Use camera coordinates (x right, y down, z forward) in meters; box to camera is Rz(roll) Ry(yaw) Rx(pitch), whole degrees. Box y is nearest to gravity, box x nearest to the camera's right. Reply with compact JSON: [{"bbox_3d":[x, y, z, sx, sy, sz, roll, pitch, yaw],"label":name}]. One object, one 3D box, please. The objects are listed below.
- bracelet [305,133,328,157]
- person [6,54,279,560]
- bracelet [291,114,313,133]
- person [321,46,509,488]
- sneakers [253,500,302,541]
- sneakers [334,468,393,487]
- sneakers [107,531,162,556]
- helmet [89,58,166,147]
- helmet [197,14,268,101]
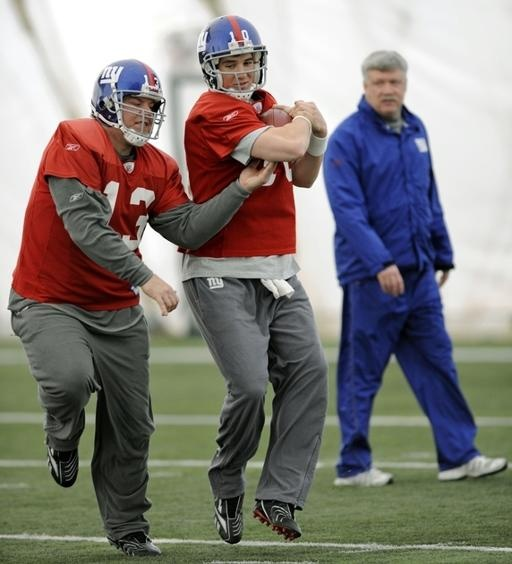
[{"bbox_3d":[0.250,-0.545,4.005,0.079,0.084,0.084,18,30,-6],"label":"bracelet"},{"bbox_3d":[-0.517,0.139,3.822,0.861,1.943,0.559,-6,14,-12],"label":"person"},{"bbox_3d":[0.179,-0.605,3.792,0.069,0.065,0.068,9,34,2],"label":"bracelet"},{"bbox_3d":[0.731,-0.047,4.949,0.746,2.165,0.643,-2,14,4],"label":"person"},{"bbox_3d":[0.079,0.923,3.779,0.171,0.157,0.172,-3,13,-1],"label":"sneakers"},{"bbox_3d":[0.546,0.980,5.027,0.279,0.101,0.106,-5,-8,8],"label":"sneakers"},{"bbox_3d":[-0.467,1.013,3.831,0.163,0.067,0.092,0,16,25],"label":"sneakers"},{"bbox_3d":[-0.496,-0.682,3.801,0.288,0.333,0.267,-5,13,-8],"label":"helmet"},{"bbox_3d":[-0.160,-0.861,3.795,0.273,0.316,0.326,-5,15,-18],"label":"helmet"}]
